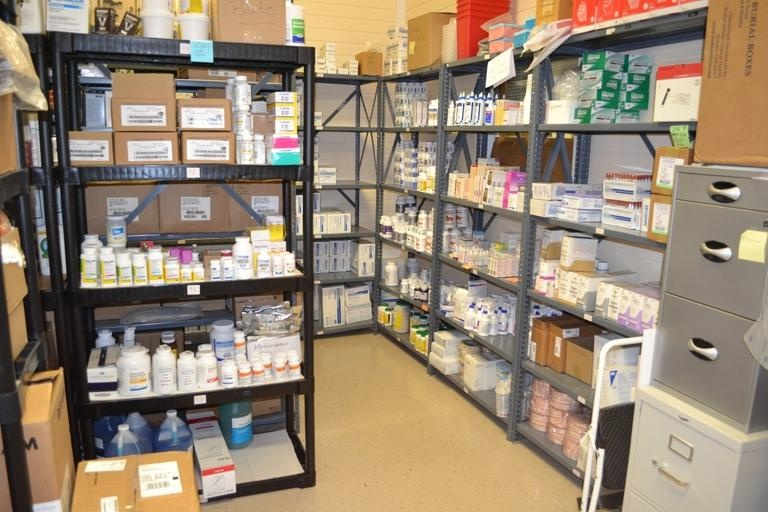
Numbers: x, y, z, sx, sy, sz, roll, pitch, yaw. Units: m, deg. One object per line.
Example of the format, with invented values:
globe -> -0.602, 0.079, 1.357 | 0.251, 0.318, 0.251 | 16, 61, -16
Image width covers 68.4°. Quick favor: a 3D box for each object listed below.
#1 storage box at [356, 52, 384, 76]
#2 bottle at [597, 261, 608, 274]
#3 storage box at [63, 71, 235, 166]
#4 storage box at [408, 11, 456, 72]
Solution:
storage box -> -0.120, -1.866, 5.582 | 0.259, 0.249, 0.254 | -2, 8, -18
bottle -> 1.428, 0.068, 3.679 | 0.069, 0.063, 0.069 | 2, 13, 26
storage box -> -1.220, -0.751, 3.094 | 0.755, 0.511, 0.165 | -5, 14, -6
storage box -> 0.367, -1.839, 5.005 | 0.514, 0.494, 0.506 | -11, 17, -36
